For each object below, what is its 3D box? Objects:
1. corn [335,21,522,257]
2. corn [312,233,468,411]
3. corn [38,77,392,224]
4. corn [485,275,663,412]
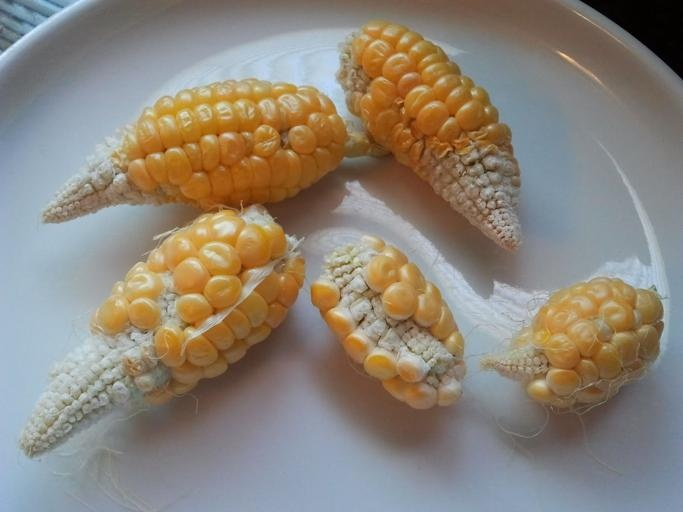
[{"bbox_3d":[0.211,-0.289,1.789,0.268,0.236,0.624,-35,88,10],"label":"corn"},{"bbox_3d":[0.101,0.151,1.688,0.229,0.159,0.400,-34,81,-4],"label":"corn"},{"bbox_3d":[-0.363,-0.257,1.723,0.664,0.259,0.231,-14,34,34],"label":"corn"},{"bbox_3d":[0.494,0.191,1.662,0.378,0.224,0.224,-20,57,-14],"label":"corn"}]
